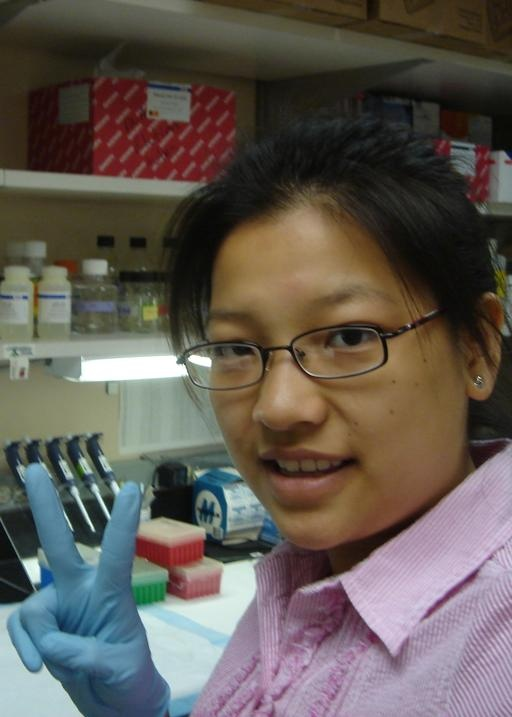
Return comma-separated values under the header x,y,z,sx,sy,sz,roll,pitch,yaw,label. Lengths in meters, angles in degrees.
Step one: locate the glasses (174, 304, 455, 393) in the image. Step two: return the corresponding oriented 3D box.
x,y,z,sx,sy,sz,roll,pitch,yaw,label
0.010,-0.006,0.632,0.117,0.085,0.329,-12,12,-38,glasses
